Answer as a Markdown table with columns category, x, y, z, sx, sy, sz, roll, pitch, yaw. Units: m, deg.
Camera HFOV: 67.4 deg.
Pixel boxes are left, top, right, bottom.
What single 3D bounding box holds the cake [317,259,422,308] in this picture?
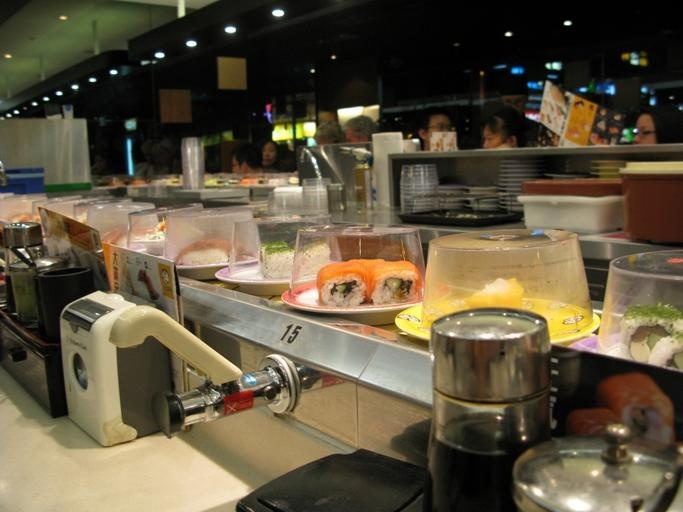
| category | x | y | z | sx | sy | sz | roll | pitch | yaw |
| --- | --- | --- | --- | --- | --- | --- | --- | --- | --- |
| cake | 0.042 | 0.030 | 0.956 | 0.171 | 0.075 | 0.152 | -5 | 11 | -19 |

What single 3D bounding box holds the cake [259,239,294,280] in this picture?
| category | x | y | z | sx | sy | sz | roll | pitch | yaw |
| --- | --- | --- | --- | --- | --- | --- | --- | --- | --- |
| cake | -0.151 | 0.012 | 1.150 | 0.080 | 0.067 | 0.077 | 1 | -1 | -19 |

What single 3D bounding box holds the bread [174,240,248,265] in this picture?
| category | x | y | z | sx | sy | sz | roll | pitch | yaw |
| --- | --- | --- | --- | --- | --- | --- | --- | --- | --- |
| bread | -0.356 | -0.027 | 1.394 | 0.158 | 0.065 | 0.154 | -6 | 12 | -32 |

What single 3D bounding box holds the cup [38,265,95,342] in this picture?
| category | x | y | z | sx | sy | sz | roll | pitch | yaw |
| --- | --- | --- | --- | --- | --- | --- | --- | --- | --- |
| cup | -0.595 | 0.101 | 1.143 | 0.113 | 0.129 | 0.147 | -6 | 13 | -35 |
